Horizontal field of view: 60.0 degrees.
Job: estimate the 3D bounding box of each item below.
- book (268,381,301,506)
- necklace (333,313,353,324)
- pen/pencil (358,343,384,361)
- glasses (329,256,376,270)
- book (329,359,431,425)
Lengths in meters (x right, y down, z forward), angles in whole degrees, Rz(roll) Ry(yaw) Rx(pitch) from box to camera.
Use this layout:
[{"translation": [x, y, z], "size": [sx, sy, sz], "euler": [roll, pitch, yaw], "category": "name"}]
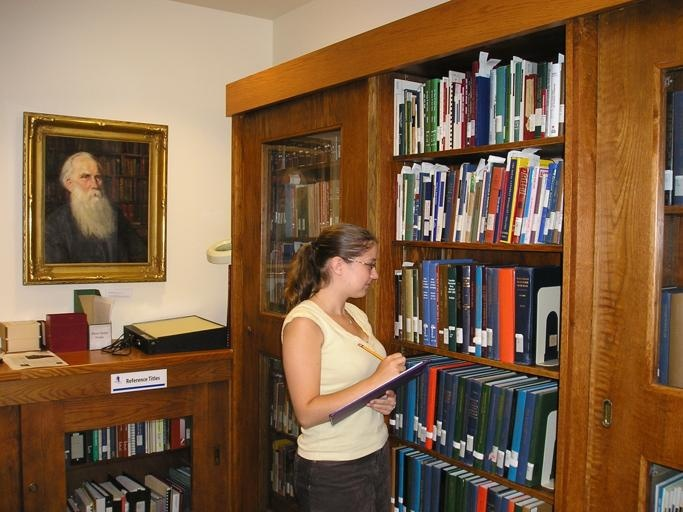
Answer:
[{"translation": [-0.339, 1.099, 3.411], "size": [0.143, 0.612, 0.426], "euler": [-1, 2, -27], "category": "book"}, {"translation": [0.009, 0.263, 2.508], "size": [0.019, 0.034, 0.201], "euler": [-5, -7, 15], "category": "necklace"}, {"translation": [0.117, 0.399, 2.452], "size": [0.013, 0.115, 0.013], "euler": [-39, 25, 31], "category": "pen/pencil"}, {"translation": [0.069, 0.025, 2.460], "size": [0.098, 0.032, 0.078], "euler": [11, 0, -6], "category": "glasses"}, {"translation": [0.152, 0.546, 2.396], "size": [0.459, 0.036, 0.427], "euler": [-27, -19, -22], "category": "book"}]
